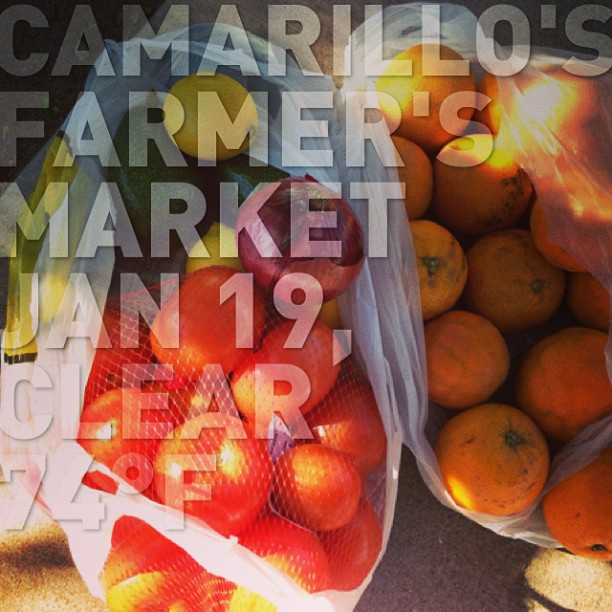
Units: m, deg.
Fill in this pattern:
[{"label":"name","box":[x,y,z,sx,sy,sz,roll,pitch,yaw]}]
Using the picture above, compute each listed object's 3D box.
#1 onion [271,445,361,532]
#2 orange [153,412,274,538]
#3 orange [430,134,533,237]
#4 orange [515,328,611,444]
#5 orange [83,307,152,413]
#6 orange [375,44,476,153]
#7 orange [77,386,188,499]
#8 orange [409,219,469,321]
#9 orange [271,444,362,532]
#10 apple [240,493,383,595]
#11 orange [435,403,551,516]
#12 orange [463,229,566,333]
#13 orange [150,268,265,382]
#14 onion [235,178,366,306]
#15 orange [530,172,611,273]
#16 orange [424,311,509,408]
[{"label":"onion","box":[0.011,0.206,0.908,0.098,0.063,0.075,2,56,3]},{"label":"orange","box":[-0.102,0.183,0.892,0.116,0.080,0.112,13,58,10]},{"label":"orange","box":[0.210,-0.143,0.980,0.111,0.118,0.135,0,90,6]},{"label":"orange","box":[0.310,0.097,0.969,0.099,0.084,0.106,1,57,3]},{"label":"orange","box":[-0.248,0.044,0.987,0.049,0.102,0.079,-5,41,-7]},{"label":"orange","box":[0.135,-0.258,1.012,0.109,0.156,0.119,-1,21,-3]},{"label":"orange","box":[-0.203,0.129,0.897,0.094,0.074,0.142,-7,91,-7]},{"label":"orange","box":[0.162,-0.047,0.992,0.063,0.086,0.098,-8,56,-3]},{"label":"orange","box":[0.010,0.205,0.910,0.075,0.110,0.083,-12,28,-26]},{"label":"apple","box":[0.008,0.313,0.992,0.164,0.215,0.137,-11,64,16]},{"label":"orange","box":[0.227,0.195,0.974,0.143,0.129,0.102,15,57,12]},{"label":"orange","box":[0.257,-0.031,1.035,0.106,0.134,0.109,-3,28,-9]},{"label":"orange","box":[-0.107,0.020,0.905,0.114,0.070,0.114,16,59,12]},{"label":"onion","box":[-0.009,-0.072,0.900,0.145,0.097,0.117,21,60,15]},{"label":"orange","box":[0.325,-0.094,0.980,0.098,0.082,0.116,13,58,10]},{"label":"orange","box":[0.191,0.064,0.976,0.091,0.064,0.091,4,57,4]}]
